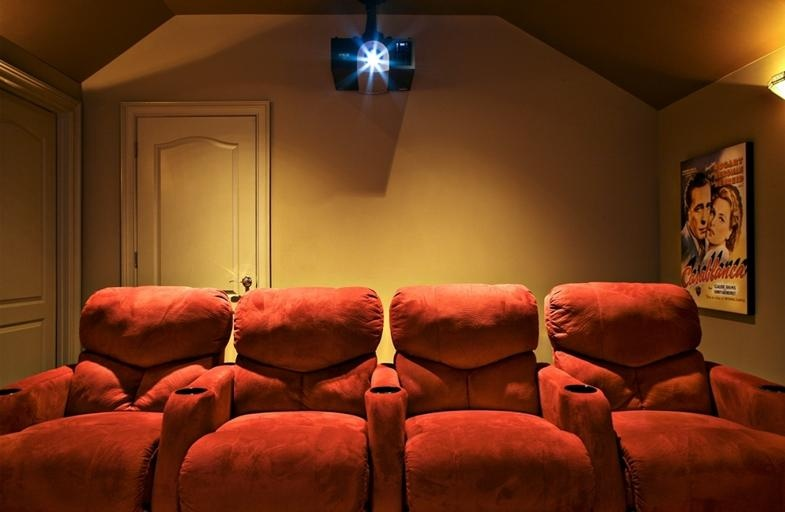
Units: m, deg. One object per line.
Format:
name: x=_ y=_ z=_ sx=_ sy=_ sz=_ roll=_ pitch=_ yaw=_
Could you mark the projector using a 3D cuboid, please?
projector: x=-0.145 y=-1.548 z=4.752 sx=0.654 sy=0.387 sz=0.339 roll=0 pitch=-1 yaw=0
